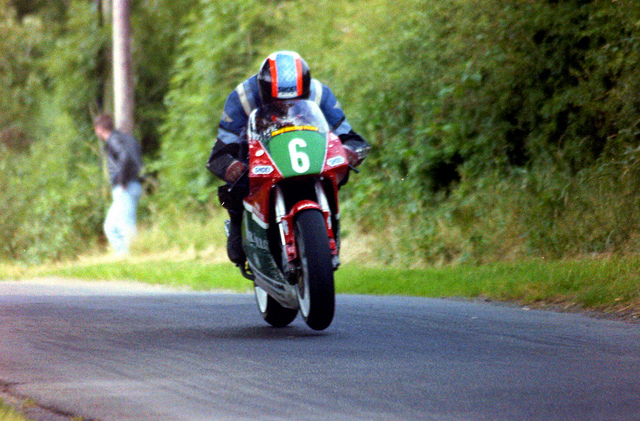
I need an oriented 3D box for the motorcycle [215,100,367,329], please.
[{"bbox_3d":[-0.329,0.051,17.291,1.471,3.042,0.813,5,13,34],"label":"motorcycle"}]
